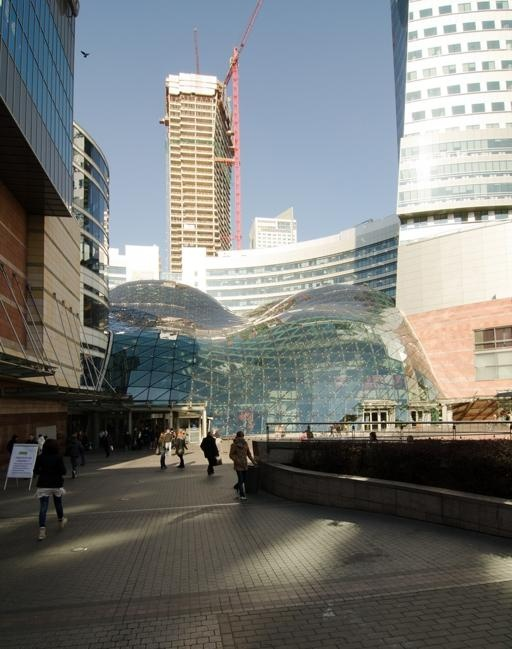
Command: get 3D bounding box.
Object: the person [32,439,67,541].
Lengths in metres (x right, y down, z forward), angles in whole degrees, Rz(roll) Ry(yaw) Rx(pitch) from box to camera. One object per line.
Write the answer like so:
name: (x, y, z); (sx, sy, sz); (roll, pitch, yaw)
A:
person: (-3.735, 2.925, 10.512); (0.500, 1.677, 1.524); (-1, -8, -21)

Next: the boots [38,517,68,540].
boots: (-3.617, 3.551, 10.068); (0.198, 0.249, 0.593); (-2, 18, 11)

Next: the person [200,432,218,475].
person: (-1.625, 4.499, 20.265); (0.506, 1.500, 1.402); (-3, -7, -6)
